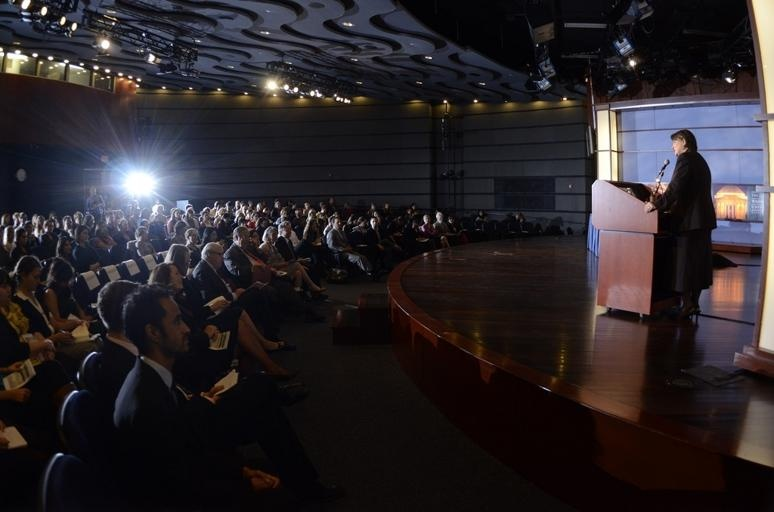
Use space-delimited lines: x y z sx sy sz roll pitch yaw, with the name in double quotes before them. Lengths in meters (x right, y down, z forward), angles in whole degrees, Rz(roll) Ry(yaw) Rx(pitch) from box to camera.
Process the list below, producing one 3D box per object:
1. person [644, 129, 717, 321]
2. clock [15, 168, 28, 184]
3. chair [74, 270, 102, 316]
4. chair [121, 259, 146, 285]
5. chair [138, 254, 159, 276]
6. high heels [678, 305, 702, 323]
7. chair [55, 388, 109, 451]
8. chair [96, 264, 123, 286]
"person" 2.832 -0.420 4.973 0.641 1.493 0.440 2 11 12
"clock" -9.780 -2.137 13.994 0.041 0.361 0.275 8 13 38
"chair" -3.377 0.427 5.923 0.280 0.420 0.592 -6 13 -29
"chair" -3.028 0.198 6.258 0.195 0.356 0.223 -9 15 -34
"chair" -3.030 0.121 6.662 0.162 0.330 0.174 -5 9 35
"high heels" 2.958 0.565 5.099 0.131 0.095 0.230 -13 -18 12
"chair" -1.932 1.024 3.299 0.263 0.384 0.129 0 -14 -24
"chair" -3.158 0.217 5.971 0.134 0.170 0.176 -22 2 22
